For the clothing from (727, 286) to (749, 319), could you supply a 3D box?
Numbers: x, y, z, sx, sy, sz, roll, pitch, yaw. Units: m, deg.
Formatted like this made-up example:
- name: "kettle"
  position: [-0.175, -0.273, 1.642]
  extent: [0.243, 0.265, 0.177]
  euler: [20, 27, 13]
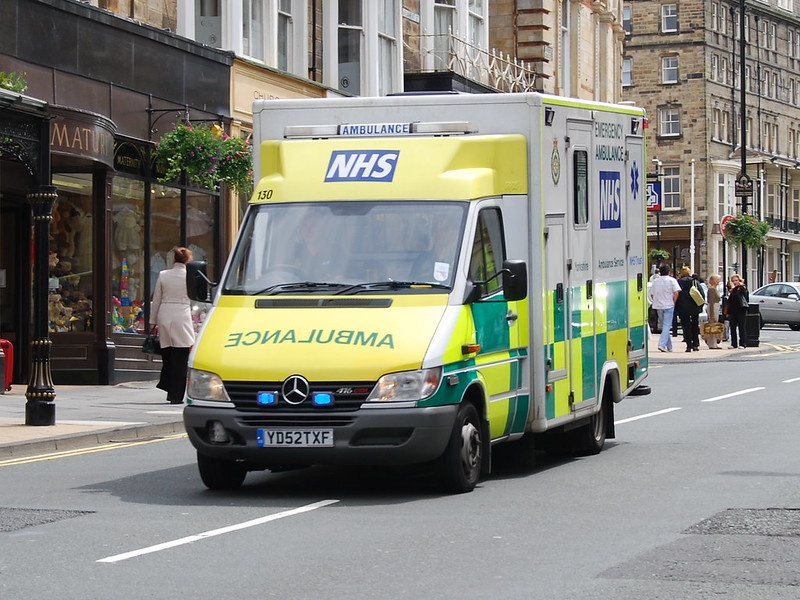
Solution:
- name: "clothing"
  position: [9.174, 0.096, 33.922]
  extent: [0.696, 0.873, 0.515]
  euler: [-6, -22, 26]

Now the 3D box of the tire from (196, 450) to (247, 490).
- name: "tire"
  position: [-1.581, 1.525, 11.204]
  extent: [0.457, 0.444, 0.307]
  euler: [-8, 10, -20]

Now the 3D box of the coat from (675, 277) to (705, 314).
- name: "coat"
  position: [7.498, -0.097, 32.446]
  extent: [0.659, 1.259, 0.882]
  euler: [-5, 3, 31]

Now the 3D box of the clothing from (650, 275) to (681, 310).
- name: "clothing"
  position: [6.750, -0.184, 31.741]
  extent: [0.838, 0.876, 0.480]
  euler: [3, 6, 17]

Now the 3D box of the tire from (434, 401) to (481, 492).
- name: "tire"
  position: [0.481, 1.250, 10.715]
  extent: [0.347, 0.879, 0.800]
  euler: [-3, 2, 18]

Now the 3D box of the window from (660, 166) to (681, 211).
- name: "window"
  position: [17.902, -7.407, 82.201]
  extent: [1.268, 2.901, 0.125]
  euler: [-1, -2, 19]
